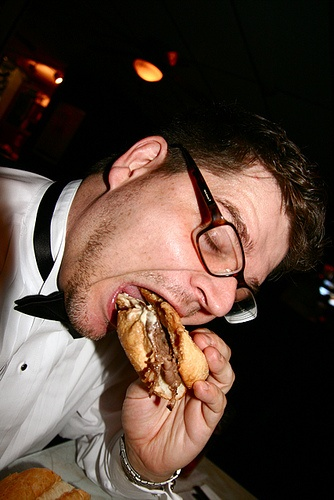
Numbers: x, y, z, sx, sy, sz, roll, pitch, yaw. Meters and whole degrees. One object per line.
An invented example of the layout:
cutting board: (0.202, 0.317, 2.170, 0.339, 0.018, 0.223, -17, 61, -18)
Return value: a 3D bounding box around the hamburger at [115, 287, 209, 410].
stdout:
hamburger: (-0.034, 0.414, 1.856, 0.286, 0.357, 0.456, -29, 43, -13)
